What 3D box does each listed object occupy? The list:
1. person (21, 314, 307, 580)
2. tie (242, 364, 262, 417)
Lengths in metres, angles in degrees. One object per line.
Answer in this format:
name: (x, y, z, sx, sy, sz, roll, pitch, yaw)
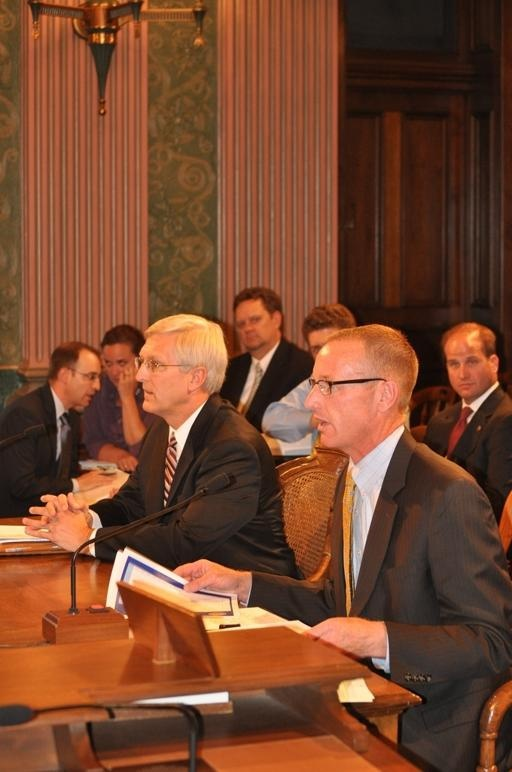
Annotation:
person: (-0.318, 0.217, 2.677, 0.983, 1.297, 0.614, 2, -4, -22)
tie: (-0.019, 0.019, 4.357, 0.057, 0.251, 0.193, 16, -8, -16)
